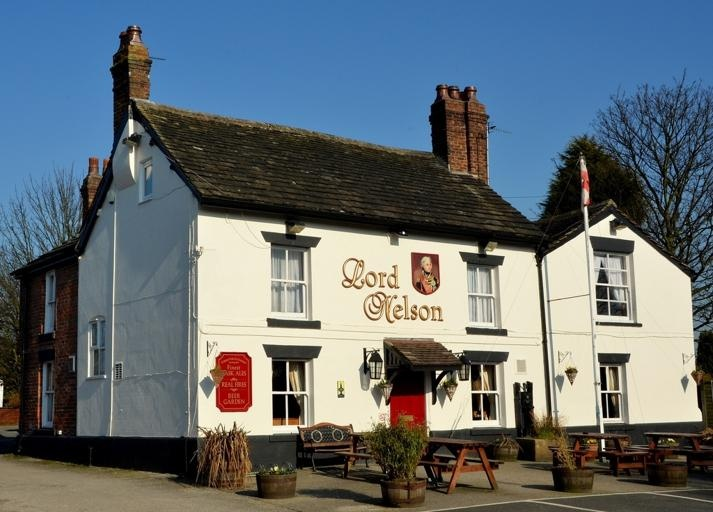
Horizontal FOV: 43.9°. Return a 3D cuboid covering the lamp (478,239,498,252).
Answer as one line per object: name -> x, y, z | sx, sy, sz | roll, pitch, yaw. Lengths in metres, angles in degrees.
lamp -> 4.623, -0.299, 31.158 | 0.640, 0.413, 0.494 | -4, -15, -3

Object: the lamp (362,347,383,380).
lamp -> 0.565, 3.461, 28.579 | 0.671, 0.987, 0.263 | 1, -14, -7

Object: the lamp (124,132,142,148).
lamp -> -7.523, -3.852, 29.843 | 0.354, 0.177, 0.520 | 16, -32, -37

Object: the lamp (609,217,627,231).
lamp -> 9.843, -1.111, 33.132 | 0.680, 0.505, 0.268 | 8, -17, -31

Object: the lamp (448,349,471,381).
lamp -> 3.543, 3.593, 29.579 | 0.623, 0.978, 2.027 | -3, -16, 8

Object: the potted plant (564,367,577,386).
potted plant -> 7.670, 4.213, 31.323 | 0.449, 0.590, 0.477 | 4, 6, 27

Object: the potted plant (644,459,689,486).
potted plant -> 8.890, 6.176, 25.110 | 0.858, 0.510, 0.846 | -4, -11, 17

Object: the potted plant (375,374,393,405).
potted plant -> 0.861, 4.426, 28.800 | 0.631, 0.935, 0.739 | -1, -8, -11

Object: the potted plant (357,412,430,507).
potted plant -> 1.023, 5.328, 23.290 | 1.774, 2.631, 1.943 | -8, -12, 40

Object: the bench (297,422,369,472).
bench -> -0.654, 5.751, 26.885 | 2.162, 1.437, 0.920 | 7, -14, -42

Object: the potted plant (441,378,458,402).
potted plant -> 3.153, 4.441, 29.497 | 0.536, 0.681, 0.595 | 1, -6, -22

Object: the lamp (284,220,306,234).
lamp -> -1.953, -0.862, 28.004 | 0.440, 0.388, 0.649 | -22, -20, 35
